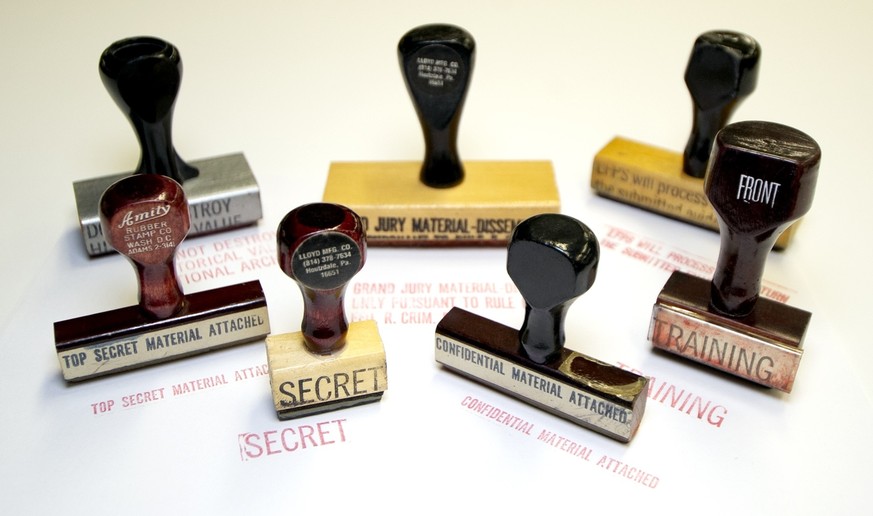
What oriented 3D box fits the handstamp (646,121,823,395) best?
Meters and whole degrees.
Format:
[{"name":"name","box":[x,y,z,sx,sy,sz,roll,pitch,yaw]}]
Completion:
[{"name":"handstamp","box":[0.812,0.000,2.207,0.450,0.735,0.241,-2,-5,15]}]

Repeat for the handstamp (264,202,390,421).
[{"name":"handstamp","box":[-0.293,0.149,2.156,0.332,0.578,0.238,0,-5,-12]}]
